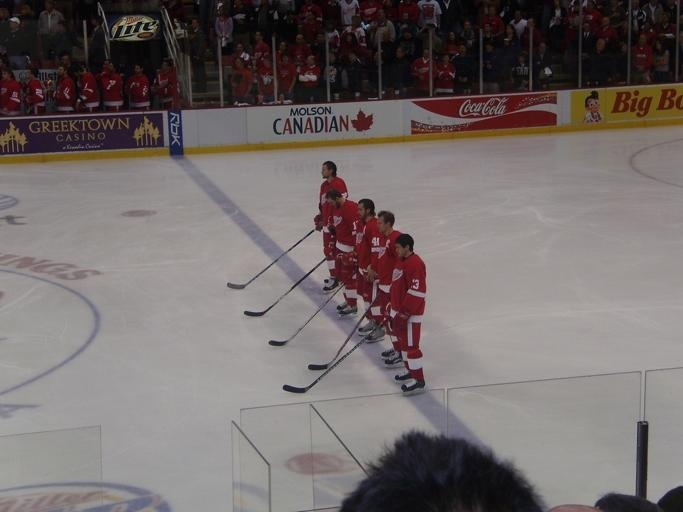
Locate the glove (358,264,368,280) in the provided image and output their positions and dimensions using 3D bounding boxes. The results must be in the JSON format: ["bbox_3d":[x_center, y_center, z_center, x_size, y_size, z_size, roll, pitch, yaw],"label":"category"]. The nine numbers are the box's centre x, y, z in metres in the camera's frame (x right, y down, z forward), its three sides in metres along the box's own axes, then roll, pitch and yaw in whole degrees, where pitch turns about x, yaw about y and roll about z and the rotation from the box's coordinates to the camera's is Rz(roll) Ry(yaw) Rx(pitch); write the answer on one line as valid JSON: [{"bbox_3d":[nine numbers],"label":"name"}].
[{"bbox_3d":[0.252,0.208,11.338,0.139,0.117,0.111,10,7,10],"label":"glove"}]

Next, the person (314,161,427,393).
[{"bbox_3d":[0.331,0.314,11.797,1.000,3.505,1.491,-9,30,-14],"label":"person"}]

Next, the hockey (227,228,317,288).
[{"bbox_3d":[-0.931,0.072,13.779,1.297,0.222,0.106,-31,23,-1],"label":"hockey"}]

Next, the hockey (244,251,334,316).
[{"bbox_3d":[-0.651,0.390,12.817,1.000,0.131,0.150,-43,9,21],"label":"hockey"}]

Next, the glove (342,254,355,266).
[{"bbox_3d":[0.093,0.056,11.850,0.127,0.115,0.128,3,3,23],"label":"glove"}]

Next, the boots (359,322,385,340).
[{"bbox_3d":[0.353,0.827,11.352,0.137,0.169,0.398,-5,12,-19],"label":"boots"}]

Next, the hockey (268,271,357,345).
[{"bbox_3d":[-0.323,0.660,12.001,0.125,1.097,0.162,47,41,10],"label":"hockey"}]

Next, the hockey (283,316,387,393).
[{"bbox_3d":[0.008,1.062,10.735,0.465,0.211,1.561,28,51,28],"label":"hockey"}]

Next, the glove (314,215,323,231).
[{"bbox_3d":[-0.257,-0.398,12.863,0.064,0.178,0.133,5,9,-10],"label":"glove"}]
